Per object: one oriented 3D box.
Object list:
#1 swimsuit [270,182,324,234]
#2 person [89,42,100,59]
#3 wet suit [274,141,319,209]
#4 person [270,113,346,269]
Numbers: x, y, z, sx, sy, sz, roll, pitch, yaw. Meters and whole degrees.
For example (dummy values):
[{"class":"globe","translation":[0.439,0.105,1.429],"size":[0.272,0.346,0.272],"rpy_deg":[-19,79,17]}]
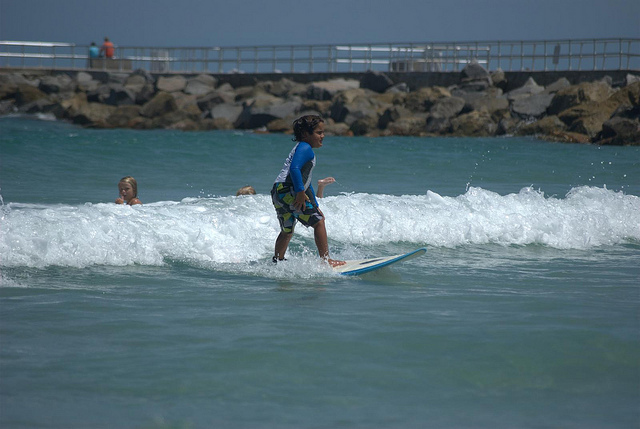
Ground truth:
[{"class":"swimsuit","translation":[-0.361,-0.095,14.784],"size":[0.844,0.839,0.508],"rpy_deg":[9,37,33]},{"class":"person","translation":[-11.033,-8.023,46.395],"size":[0.476,0.768,1.117],"rpy_deg":[1,7,-15]},{"class":"wet suit","translation":[-0.332,-0.623,14.507],"size":[0.660,1.014,0.786],"rpy_deg":[3,7,-3]},{"class":"person","translation":[-0.250,-0.354,14.531],"size":[0.773,2.371,0.676],"rpy_deg":[-4,11,-43]}]
